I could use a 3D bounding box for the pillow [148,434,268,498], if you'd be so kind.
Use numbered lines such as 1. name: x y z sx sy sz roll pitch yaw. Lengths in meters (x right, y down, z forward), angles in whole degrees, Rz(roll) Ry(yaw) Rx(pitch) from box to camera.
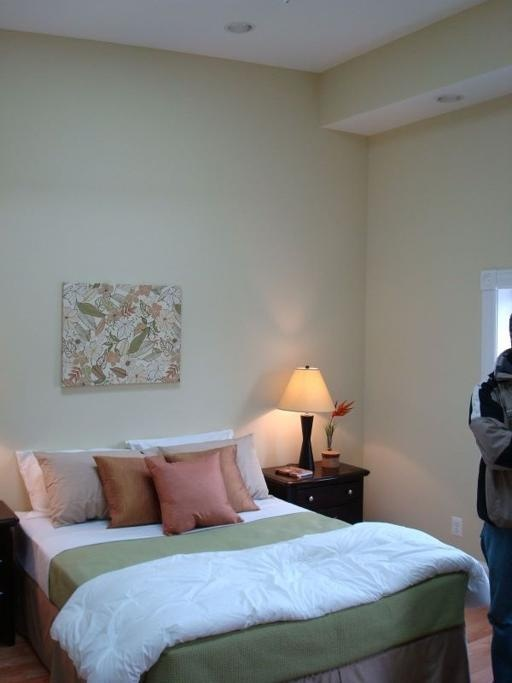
1. pillow: -0.198 0.761 3.338 0.523 0.369 0.152 14 -41 -41

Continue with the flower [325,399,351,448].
1. flower: 0.547 0.583 3.869 0.180 0.352 0.233 9 -15 -2

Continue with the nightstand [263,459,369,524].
1. nightstand: 0.371 0.933 3.607 0.537 0.528 0.395 -4 6 -41

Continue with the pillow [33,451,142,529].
1. pillow: -0.947 0.748 2.838 0.335 0.316 0.102 3 -32 -32

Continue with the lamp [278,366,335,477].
1. lamp: 0.331 0.514 3.704 0.391 0.695 0.390 0 -2 22

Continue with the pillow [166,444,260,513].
1. pillow: -0.207 0.765 3.053 0.118 0.353 0.378 -33 -21 34

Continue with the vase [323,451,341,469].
1. vase: 0.493 0.789 3.750 0.101 0.089 0.102 -3 -3 42
